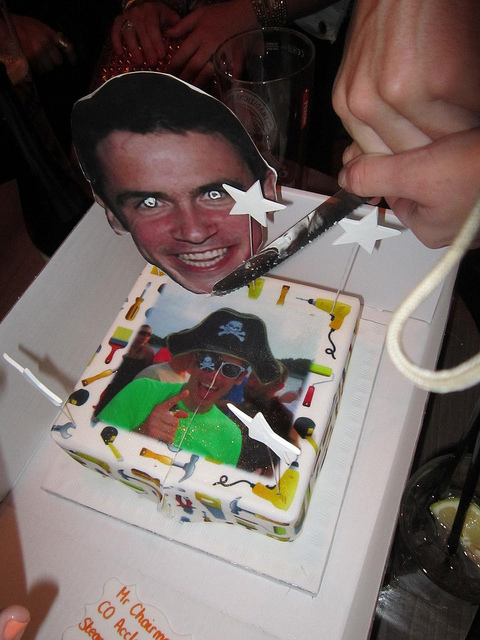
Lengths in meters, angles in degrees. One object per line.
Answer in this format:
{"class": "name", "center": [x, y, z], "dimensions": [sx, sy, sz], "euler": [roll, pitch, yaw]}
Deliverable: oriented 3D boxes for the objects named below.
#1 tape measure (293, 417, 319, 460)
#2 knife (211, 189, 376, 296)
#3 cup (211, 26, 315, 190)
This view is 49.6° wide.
{"class": "tape measure", "center": [0.070, 0.131, 0.574], "dimensions": [0.021, 0.014, 0.040], "euler": [-3, 45, -23]}
{"class": "knife", "center": [0.068, -0.103, 0.674], "dimensions": [0.250, 0.035, 0.012], "euler": [-41, 30, -9]}
{"class": "cup", "center": [0.051, -0.343, 0.871], "dimensions": [0.164, 0.261, 0.166], "euler": [-1, 37, 1]}
